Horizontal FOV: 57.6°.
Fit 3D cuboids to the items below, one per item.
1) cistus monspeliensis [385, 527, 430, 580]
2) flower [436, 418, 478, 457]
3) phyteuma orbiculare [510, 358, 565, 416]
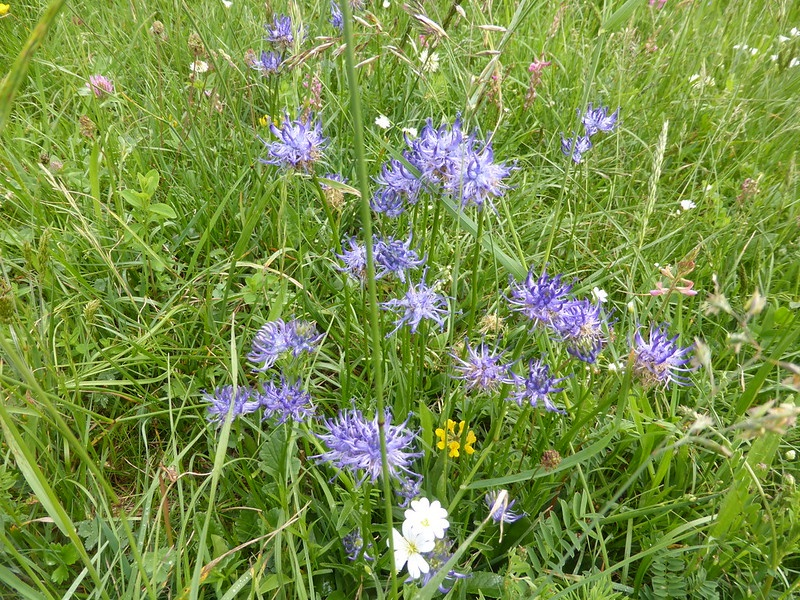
[{"bbox_3d":[0.037,0.883,2.579,0.194,0.083,0.234,1,3,4],"label":"cistus monspeliensis"},{"bbox_3d":[0.219,0.550,2.873,0.134,0.063,0.173,6,57,15],"label":"flower"},{"bbox_3d":[0.498,0.330,2.645,0.178,0.133,0.201,-13,67,-9],"label":"phyteuma orbiculare"}]
